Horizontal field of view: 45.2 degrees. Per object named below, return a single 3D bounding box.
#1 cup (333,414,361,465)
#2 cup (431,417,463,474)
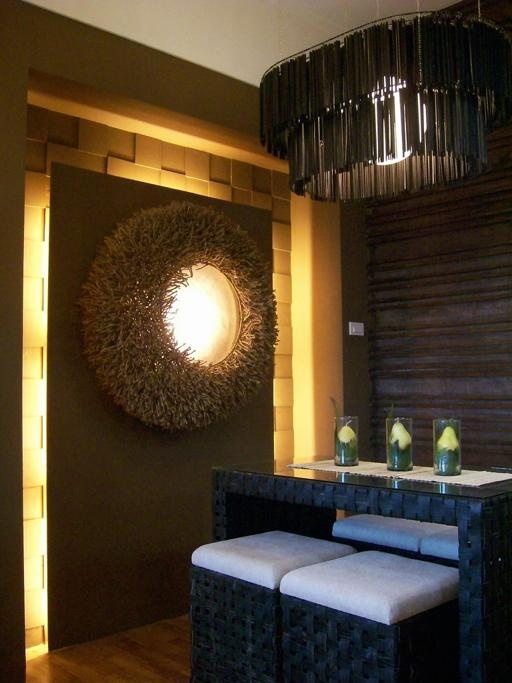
[{"bbox_3d":[0.310,0.342,2.104,0.083,0.163,0.092,1,0,-8],"label":"cup"},{"bbox_3d":[0.567,0.308,1.814,0.083,0.171,0.083,-2,3,0],"label":"cup"}]
